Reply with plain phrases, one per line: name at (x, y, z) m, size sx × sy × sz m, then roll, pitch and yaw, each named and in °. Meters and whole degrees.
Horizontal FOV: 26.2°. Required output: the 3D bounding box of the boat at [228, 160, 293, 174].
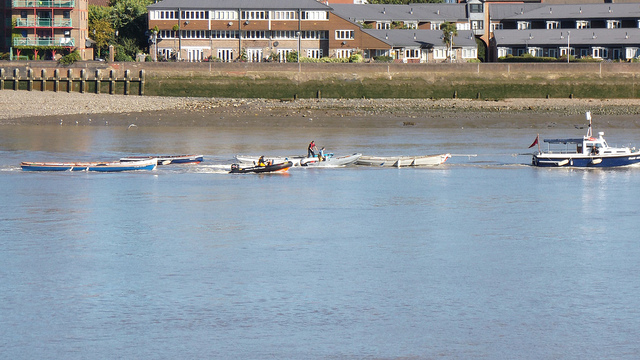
boat at (-5.930, -1.213, 141.966) m, size 7.370 × 1.231 × 1.836 m, roll -4°, pitch -1°, yaw 1°

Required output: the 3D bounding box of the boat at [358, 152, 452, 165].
boat at (8.683, -2.148, 144.048) m, size 8.968 × 1.042 × 1.437 m, roll 0°, pitch 3°, yaw -3°

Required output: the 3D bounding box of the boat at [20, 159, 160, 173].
boat at (-23.440, -1.431, 141.373) m, size 12.575 × 1.300 × 0.855 m, roll 0°, pitch 4°, yaw -6°

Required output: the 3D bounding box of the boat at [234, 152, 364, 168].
boat at (-2.213, -2.051, 143.515) m, size 6.808 × 0.873 × 1.888 m, roll -1°, pitch 4°, yaw -1°

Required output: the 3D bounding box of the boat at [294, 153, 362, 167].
boat at (0.832, -1.974, 143.719) m, size 6.987 × 0.996 × 2.007 m, roll -3°, pitch 0°, yaw 3°
